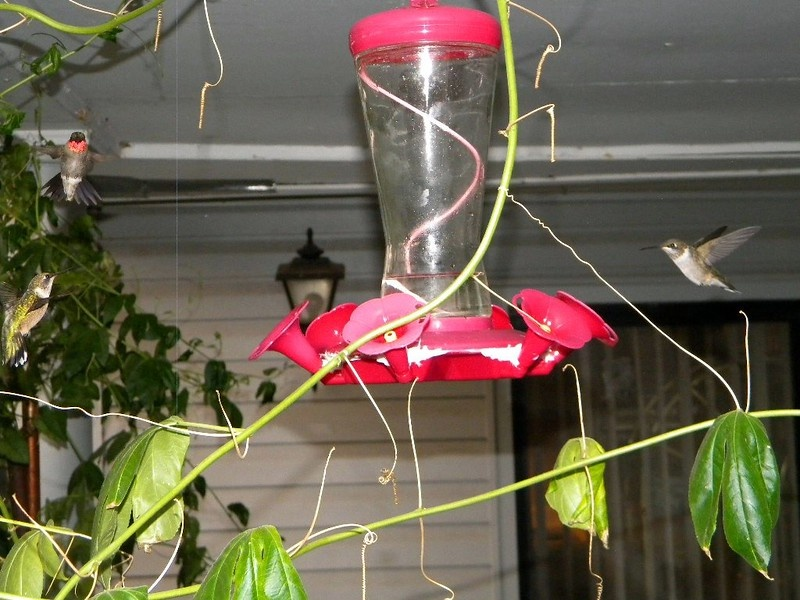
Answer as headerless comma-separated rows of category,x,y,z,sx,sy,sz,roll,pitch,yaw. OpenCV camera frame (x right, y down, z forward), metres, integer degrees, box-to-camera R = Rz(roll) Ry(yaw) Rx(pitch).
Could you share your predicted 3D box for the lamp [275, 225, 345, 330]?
lamp,-0.313,-0.102,4.797,0.274,0.423,0.254,1,1,-7
